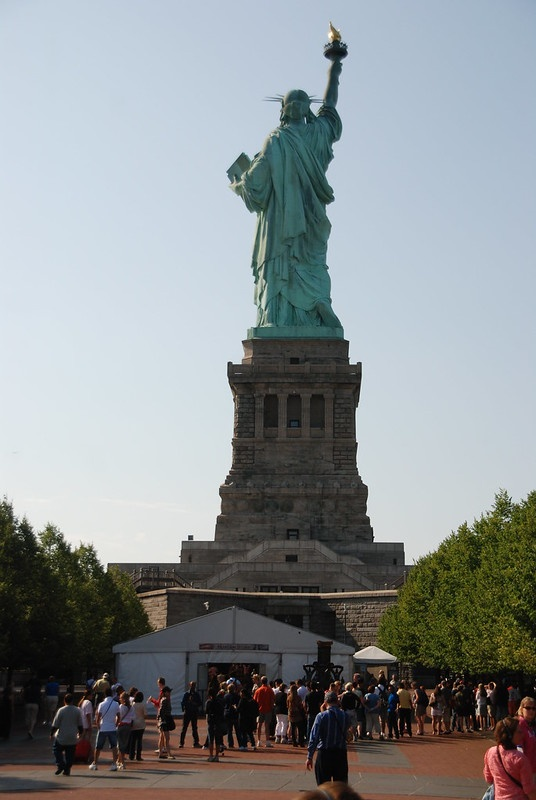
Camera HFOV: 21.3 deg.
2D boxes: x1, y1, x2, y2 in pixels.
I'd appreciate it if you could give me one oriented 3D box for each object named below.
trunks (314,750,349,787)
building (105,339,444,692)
[{"bbox_3d":[0.956,5.333,20.731,0.441,0.487,0.429,1,-17,-1],"label":"trunks"},{"bbox_3d":[2.342,5.169,77.842,22.290,16.202,23.163,1,-11,-2],"label":"building"}]
